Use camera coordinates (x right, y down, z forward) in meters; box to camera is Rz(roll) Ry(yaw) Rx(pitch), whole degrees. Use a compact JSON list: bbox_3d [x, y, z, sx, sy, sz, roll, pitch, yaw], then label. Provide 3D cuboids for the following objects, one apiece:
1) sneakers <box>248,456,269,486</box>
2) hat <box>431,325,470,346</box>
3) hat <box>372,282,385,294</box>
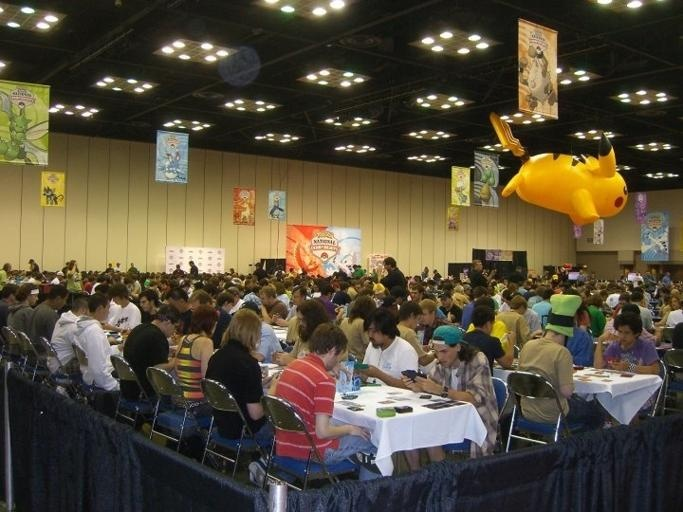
[{"bbox_3d":[-0.725,1.863,4.793,0.127,0.314,0.226,3,-19,-34],"label":"sneakers"},{"bbox_3d":[0.994,0.751,5.446,0.279,0.209,0.467,-1,-5,33],"label":"hat"},{"bbox_3d":[0.795,0.700,12.050,0.164,0.151,0.227,-21,12,-39],"label":"hat"}]
